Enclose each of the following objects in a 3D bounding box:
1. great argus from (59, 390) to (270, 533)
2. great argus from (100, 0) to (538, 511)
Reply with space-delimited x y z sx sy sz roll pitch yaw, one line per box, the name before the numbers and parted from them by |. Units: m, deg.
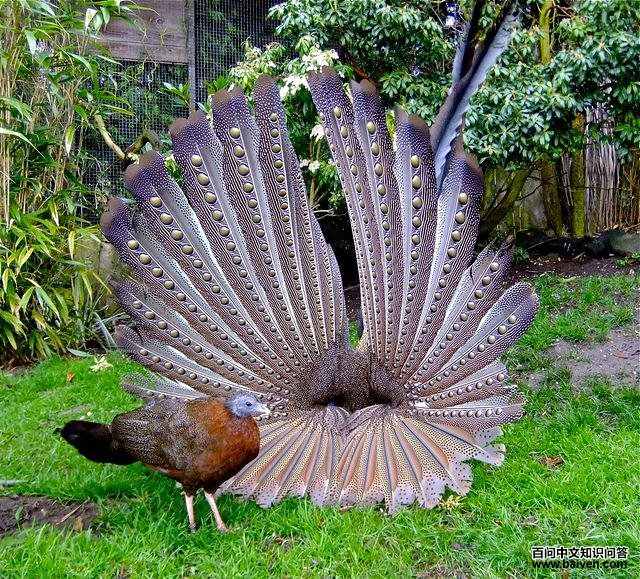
great argus | -0.859 0.891 4.479 1.165 0.868 0.415 7 14 20
great argus | 0.037 -0.131 4.414 2.160 2.238 1.538 1 36 8
